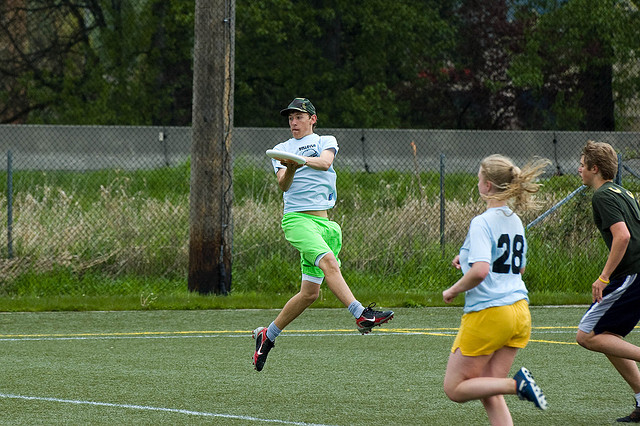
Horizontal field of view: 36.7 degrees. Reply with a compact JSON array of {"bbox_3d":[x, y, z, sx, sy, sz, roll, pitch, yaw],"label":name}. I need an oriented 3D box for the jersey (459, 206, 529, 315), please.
[{"bbox_3d":[1.985,0.569,10.877,0.641,1.277,1.224,2,-4,40],"label":"jersey"}]

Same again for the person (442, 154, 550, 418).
[{"bbox_3d":[1.945,0.826,10.693,1.133,2.843,0.745,1,11,7],"label":"person"}]

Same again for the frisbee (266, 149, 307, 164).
[{"bbox_3d":[-0.414,-0.739,12.281,0.510,0.208,0.528,0,12,1],"label":"frisbee"}]
